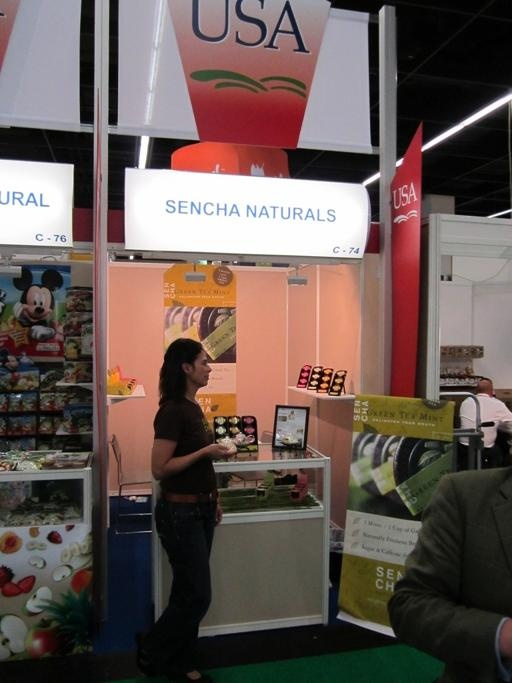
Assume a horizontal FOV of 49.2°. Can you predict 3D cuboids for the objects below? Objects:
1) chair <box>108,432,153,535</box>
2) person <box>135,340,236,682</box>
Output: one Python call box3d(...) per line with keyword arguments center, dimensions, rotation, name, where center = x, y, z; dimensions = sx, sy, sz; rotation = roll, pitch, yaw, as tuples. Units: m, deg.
box3d(center=(-1.044, 1.133, 4.859), dimensions=(0.380, 0.627, 0.352), rotation=(-3, 12, -15), name="chair")
box3d(center=(-0.286, 0.725, 2.409), dimensions=(0.409, 1.471, 0.308), rotation=(1, -1, -14), name="person")
